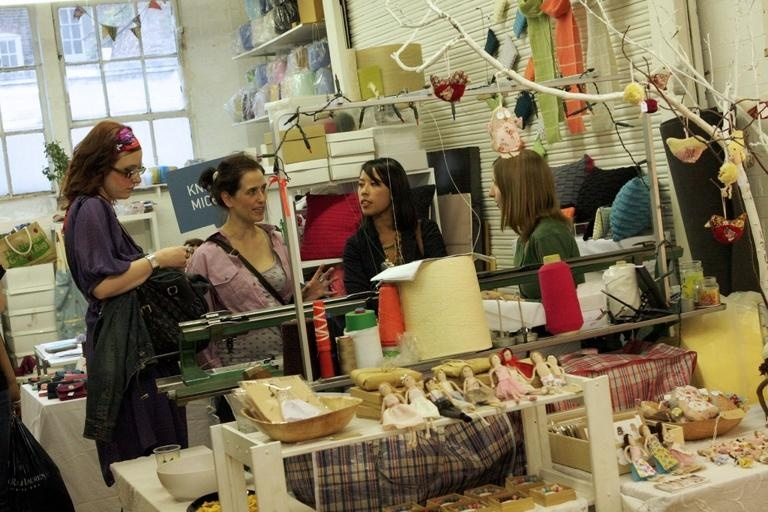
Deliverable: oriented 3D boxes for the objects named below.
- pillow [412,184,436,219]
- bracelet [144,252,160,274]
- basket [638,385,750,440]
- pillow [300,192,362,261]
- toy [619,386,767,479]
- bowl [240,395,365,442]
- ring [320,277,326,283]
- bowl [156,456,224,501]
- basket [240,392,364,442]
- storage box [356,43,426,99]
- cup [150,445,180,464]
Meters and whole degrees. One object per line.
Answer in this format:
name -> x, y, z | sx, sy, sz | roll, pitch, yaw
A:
pillow -> 0.248, -0.340, 3.821 | 0.063, 0.196, 0.216 | -7, 4, 31
bracelet -> -1.158, 0.027, 3.013 | 0.063, 0.093, 0.091 | -25, 43, -18
basket -> 1.285, 0.593, 2.525 | 0.298, 0.083, 0.274 | -6, 1, -24
pillow -> -0.376, -0.210, 4.367 | 0.495, 0.451, 0.150 | 0, -6, 29
toy -> 1.247, 0.685, 2.506 | 0.385, 0.107, 0.348 | -11, 2, -19
bowl -> -0.256, 0.562, 2.036 | 0.233, 0.053, 0.202 | -4, 2, -25
ring -> -0.317, 0.128, 3.142 | 0.026, 0.024, 0.044 | 2, -11, -35
bowl -> -0.793, 0.892, 2.465 | 0.218, 0.093, 0.214 | -7, 6, 1
basket -> -0.252, 0.562, 2.038 | 0.236, 0.053, 0.201 | -4, 2, -23
storage box -> 0.042, -1.574, 5.107 | 0.540, 0.351, 0.536 | -9, 4, 3
cup -> -0.942, 0.833, 2.592 | 0.090, 0.066, 0.094 | 3, 7, 0
